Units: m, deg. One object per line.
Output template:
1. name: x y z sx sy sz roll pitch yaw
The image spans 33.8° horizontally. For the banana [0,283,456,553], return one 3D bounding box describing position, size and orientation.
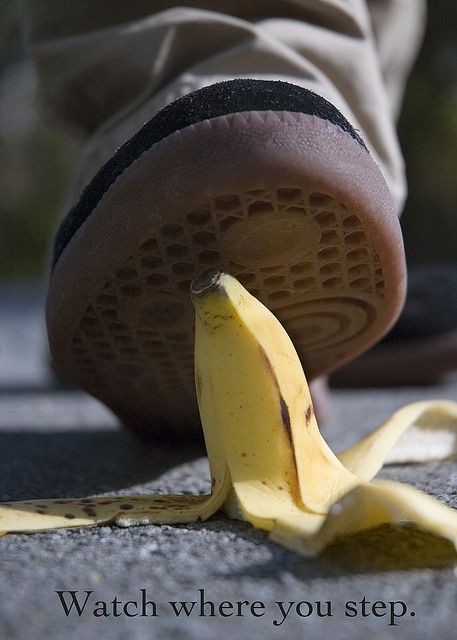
1. banana: -0.008 0.076 0.490 0.253 0.172 0.098 4 68 -16
